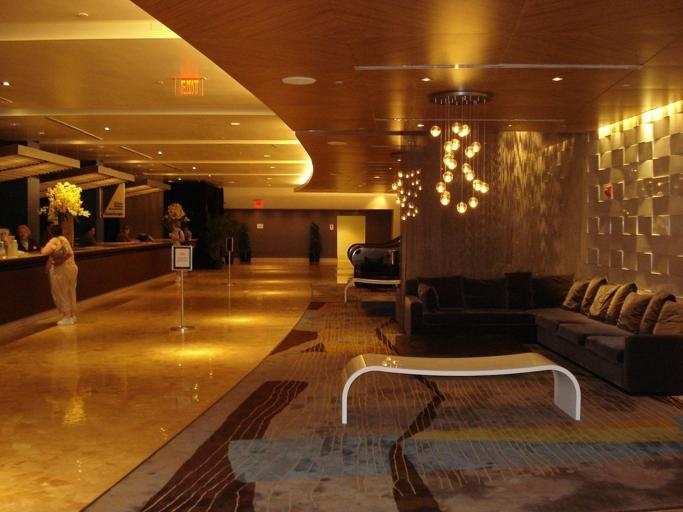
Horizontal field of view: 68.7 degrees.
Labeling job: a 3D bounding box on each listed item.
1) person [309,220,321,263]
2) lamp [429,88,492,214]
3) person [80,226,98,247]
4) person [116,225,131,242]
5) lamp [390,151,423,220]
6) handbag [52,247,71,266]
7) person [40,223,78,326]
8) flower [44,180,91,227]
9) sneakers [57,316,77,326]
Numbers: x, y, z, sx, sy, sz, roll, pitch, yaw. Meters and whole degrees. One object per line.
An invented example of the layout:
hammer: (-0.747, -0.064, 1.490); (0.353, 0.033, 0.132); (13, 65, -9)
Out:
person: (-1.488, -0.794, 27.981); (0.655, 2.215, 0.843); (0, 4, -7)
lamp: (1.847, -1.423, 7.864); (0.942, 1.478, 3.142); (1, 4, 15)
person: (-7.387, -0.584, 14.524); (0.414, 0.534, 0.905); (-2, 4, -28)
person: (-8.212, -0.857, 18.717); (0.493, 0.722, 0.837); (-2, 9, -29)
lamp: (1.183, -1.305, 9.424); (0.420, 1.173, 0.420); (-10, -3, 44)
handbag: (-5.262, 0.007, 9.364); (0.336, 0.242, 0.125); (-39, 5, -16)
person: (-5.373, 0.347, 9.523); (0.535, 1.885, 1.015); (-2, 5, -28)
flower: (-6.591, -1.229, 11.938); (0.617, 0.743, 0.542); (-1, 33, -33)
sneakers: (-5.253, 1.230, 9.535); (0.326, 0.124, 0.158); (2, 0, -11)
